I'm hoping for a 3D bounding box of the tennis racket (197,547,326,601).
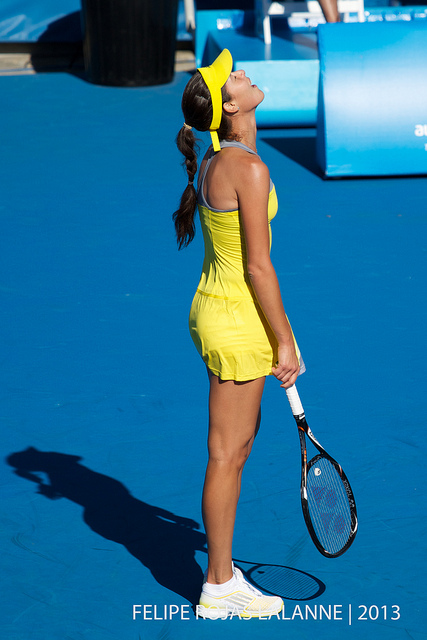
[{"bbox_3d":[0.231,0.883,2.159,0.251,0.111,0.217,9,26,22],"label":"tennis racket"}]

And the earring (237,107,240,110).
[{"bbox_3d":[0.070,-0.594,1.798,0.009,0.008,0.002,-4,-7,-11],"label":"earring"}]

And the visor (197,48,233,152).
[{"bbox_3d":[0.012,-0.618,1.793,0.104,0.236,0.131,-3,7,-13],"label":"visor"}]
